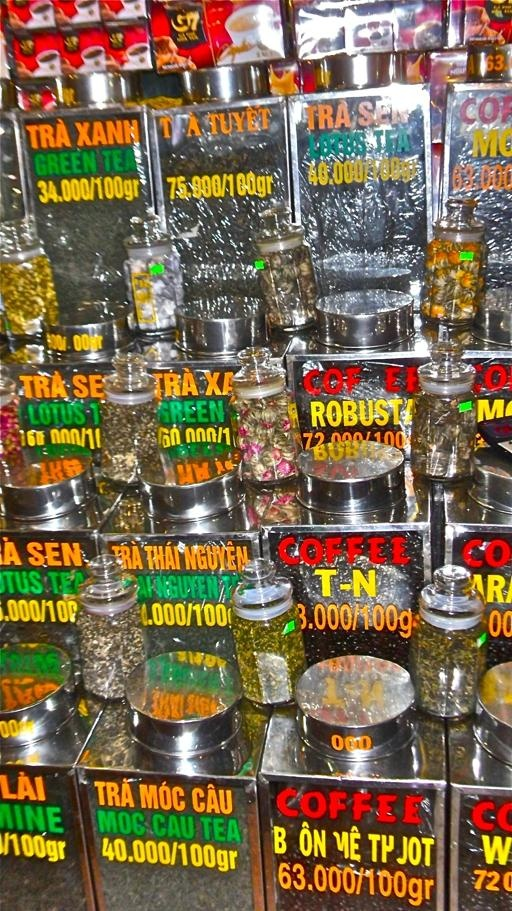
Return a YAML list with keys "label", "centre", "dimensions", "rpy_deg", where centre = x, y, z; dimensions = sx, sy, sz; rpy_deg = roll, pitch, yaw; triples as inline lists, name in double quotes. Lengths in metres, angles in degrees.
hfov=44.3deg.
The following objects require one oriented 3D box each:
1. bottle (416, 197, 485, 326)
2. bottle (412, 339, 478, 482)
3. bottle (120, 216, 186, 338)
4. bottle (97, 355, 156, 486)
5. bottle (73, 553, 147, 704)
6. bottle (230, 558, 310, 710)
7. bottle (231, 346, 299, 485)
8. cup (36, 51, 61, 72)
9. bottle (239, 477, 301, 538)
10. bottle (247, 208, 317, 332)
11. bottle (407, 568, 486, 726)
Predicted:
- label: "bottle"
  centre: [0.486, -0.478, 1.533]
  dimensions: [0.200, 0.287, 0.215]
  rpy_deg: [-4, 30, 2]
- label: "bottle"
  centre: [0.368, -0.080, 1.238]
  dimensions: [0.102, 0.253, 0.117]
  rpy_deg: [-13, 19, -18]
- label: "bottle"
  centre: [-0.294, -0.511, 1.765]
  dimensions: [0.156, 0.316, 0.233]
  rpy_deg: [-9, 19, -6]
- label: "bottle"
  centre: [-0.269, -0.073, 1.362]
  dimensions: [0.130, 0.268, 0.152]
  rpy_deg: [-18, 21, -30]
- label: "bottle"
  centre: [-0.264, 0.306, 1.163]
  dimensions: [0.137, 0.271, 0.131]
  rpy_deg: [-2, 16, 0]
- label: "bottle"
  centre: [0.021, 0.312, 1.069]
  dimensions: [0.117, 0.270, 0.078]
  rpy_deg: [-9, 18, -6]
- label: "bottle"
  centre: [0.016, -0.079, 1.290]
  dimensions: [0.125, 0.259, 0.136]
  rpy_deg: [-6, 18, 2]
- label: "cup"
  centre: [-0.796, -1.518, 2.422]
  dimensions: [0.072, 0.080, 0.078]
  rpy_deg: [2, -15, 1]
- label: "bottle"
  centre: [0.026, 0.097, 1.231]
  dimensions: [0.077, 0.021, 0.091]
  rpy_deg: [10, 33, 27]
- label: "bottle"
  centre: [0.075, -0.489, 1.654]
  dimensions: [0.139, 0.309, 0.140]
  rpy_deg: [-6, 18, 2]
- label: "bottle"
  centre: [0.316, 0.297, 1.036]
  dimensions: [0.131, 0.242, 0.128]
  rpy_deg: [-3, 21, 1]
